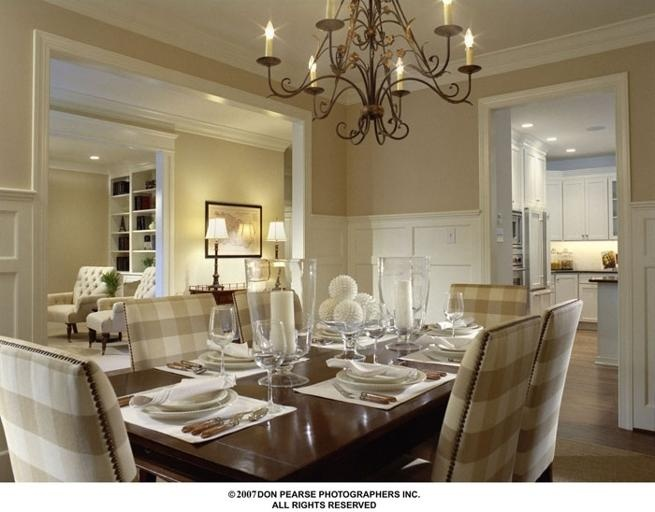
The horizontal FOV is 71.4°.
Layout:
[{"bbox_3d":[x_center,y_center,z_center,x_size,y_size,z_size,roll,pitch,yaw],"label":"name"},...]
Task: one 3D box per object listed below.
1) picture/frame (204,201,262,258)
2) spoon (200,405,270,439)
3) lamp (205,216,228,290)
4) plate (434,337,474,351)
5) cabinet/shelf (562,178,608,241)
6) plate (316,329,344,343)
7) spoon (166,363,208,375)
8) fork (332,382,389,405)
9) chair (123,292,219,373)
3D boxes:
[{"bbox_3d":[-1.403,-0.378,6.562,0.052,0.710,0.796,1,3,42],"label":"picture/frame"},{"bbox_3d":[-0.242,0.430,1.245,0.050,0.023,0.205,1,3,29],"label":"spoon"},{"bbox_3d":[-1.486,-0.022,6.064,0.248,0.948,1.003,-1,10,-15],"label":"lamp"},{"bbox_3d":[0.534,0.378,1.945,0.128,0.034,0.128,-5,-7,44],"label":"plate"},{"bbox_3d":[4.782,-0.863,8.398,0.810,1.147,0.221,7,11,28],"label":"cabinet/shelf"},{"bbox_3d":[0.016,0.403,2.276,0.120,0.021,0.122,0,0,35],"label":"plate"},{"bbox_3d":[-0.550,0.438,1.783,0.063,0.021,0.189,1,0,-40],"label":"spoon"},{"bbox_3d":[0.111,0.438,1.447,0.037,0.052,0.250,-2,0,-37],"label":"fork"},{"bbox_3d":[-0.756,0.310,2.252,0.363,0.551,0.379,-1,-2,-40],"label":"chair"}]
